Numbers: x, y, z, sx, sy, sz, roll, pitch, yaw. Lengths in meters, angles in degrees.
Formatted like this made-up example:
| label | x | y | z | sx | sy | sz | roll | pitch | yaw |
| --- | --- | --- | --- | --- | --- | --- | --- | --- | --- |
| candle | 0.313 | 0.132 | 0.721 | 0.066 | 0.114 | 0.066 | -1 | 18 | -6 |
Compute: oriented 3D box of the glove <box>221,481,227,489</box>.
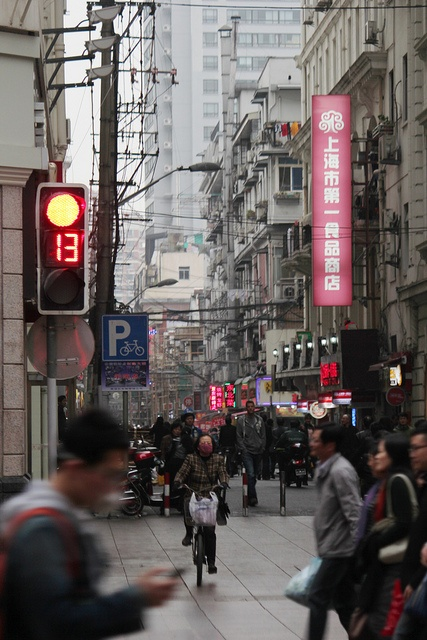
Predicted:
| label | x | y | z | sx | sy | sz | roll | pitch | yaw |
| --- | --- | --- | --- | --- | --- | --- | --- | --- | --- |
| glove | 0.108 | 1.636 | 11.378 | 0.038 | 0.063 | 0.054 | -2 | 38 | 3 |

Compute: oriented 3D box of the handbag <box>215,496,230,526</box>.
| label | x | y | z | sx | sy | sz | roll | pitch | yaw |
| --- | --- | --- | --- | --- | --- | --- | --- | --- | --- |
| handbag | 0.130 | 1.945 | 11.562 | 0.150 | 0.281 | 0.264 | 3 | -19 | -11 |

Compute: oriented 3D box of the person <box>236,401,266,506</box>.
| label | x | y | z | sx | sy | sz | roll | pitch | yaw |
| --- | --- | --- | --- | --- | --- | --- | --- | --- | --- |
| person | 0.607 | 2.283 | 19.739 | 0.422 | 1.809 | 0.957 | -1 | -4 | 15 |

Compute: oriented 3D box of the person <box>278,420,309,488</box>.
| label | x | y | z | sx | sy | sz | roll | pitch | yaw |
| --- | --- | --- | --- | --- | --- | --- | --- | --- | --- |
| person | 1.897 | 3.153 | 25.888 | 0.775 | 1.429 | 1.943 | -4 | -8 | 0 |

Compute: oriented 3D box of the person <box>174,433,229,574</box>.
| label | x | y | z | sx | sy | sz | roll | pitch | yaw |
| --- | --- | --- | --- | --- | --- | --- | --- | --- | --- |
| person | -0.149 | 1.806 | 11.663 | 0.446 | 1.397 | 1.245 | 1 | 9 | -4 |

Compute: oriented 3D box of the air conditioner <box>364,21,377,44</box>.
| label | x | y | z | sx | sy | sz | roll | pitch | yaw |
| --- | --- | --- | --- | --- | --- | --- | --- | --- | --- |
| air conditioner | 4.947 | -8.978 | 36.020 | 0.373 | 0.943 | 0.726 | -1 | -5 | 9 |

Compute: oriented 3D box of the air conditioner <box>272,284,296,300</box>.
| label | x | y | z | sx | sy | sz | roll | pitch | yaw |
| --- | --- | --- | --- | --- | --- | --- | --- | --- | --- |
| air conditioner | 4.025 | -1.698 | 66.219 | 1.245 | 1.045 | 1.058 | -1 | -5 | 8 |

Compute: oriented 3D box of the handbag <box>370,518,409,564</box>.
| label | x | y | z | sx | sy | sz | roll | pitch | yaw |
| --- | --- | --- | --- | --- | --- | --- | --- | --- | --- |
| handbag | 0.910 | 1.145 | 5.918 | 0.182 | 0.190 | 0.310 | -6 | 5 | 2 |

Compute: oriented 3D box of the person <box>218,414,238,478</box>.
| label | x | y | z | sx | sy | sz | roll | pitch | yaw |
| --- | --- | --- | --- | --- | --- | --- | --- | --- | --- |
| person | 0.360 | 2.976 | 27.865 | 0.482 | 0.835 | 1.282 | -1 | 17 | 2 |

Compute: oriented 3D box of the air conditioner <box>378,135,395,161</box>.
| label | x | y | z | sx | sy | sz | roll | pitch | yaw |
| --- | --- | --- | --- | --- | --- | --- | --- | --- | --- |
| air conditioner | 4.947 | -4.829 | 32.612 | 0.430 | 0.874 | 0.674 | -1 | -5 | 11 |

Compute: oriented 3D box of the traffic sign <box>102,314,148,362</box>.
| label | x | y | z | sx | sy | sz | roll | pitch | yaw |
| --- | --- | --- | --- | --- | --- | --- | --- | --- | --- |
| traffic sign | -1.405 | 0.296 | 18.101 | 0.583 | 0.739 | 0.068 | 0 | -5 | -7 |

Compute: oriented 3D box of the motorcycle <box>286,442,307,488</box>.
| label | x | y | z | sx | sy | sz | roll | pitch | yaw |
| --- | --- | --- | --- | --- | --- | --- | --- | --- | --- |
| motorcycle | 1.834 | 3.198 | 25.433 | 0.504 | 0.981 | 0.774 | -1 | -5 | 3 |

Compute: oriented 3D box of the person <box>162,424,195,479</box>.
| label | x | y | z | sx | sy | sz | roll | pitch | yaw |
| --- | --- | --- | --- | --- | --- | --- | --- | --- | --- |
| person | -0.614 | 2.361 | 19.471 | 0.519 | 1.617 | 0.408 | -3 | 36 | -8 |

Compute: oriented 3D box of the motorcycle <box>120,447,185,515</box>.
| label | x | y | z | sx | sy | sz | roll | pitch | yaw |
| --- | --- | --- | --- | --- | --- | --- | --- | --- | --- |
| motorcycle | -0.993 | 2.629 | 18.636 | 0.635 | 0.972 | 1.282 | -4 | -5 | 40 |

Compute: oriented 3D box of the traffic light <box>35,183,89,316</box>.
| label | x | y | z | sx | sy | sz | roll | pitch | yaw |
| --- | --- | --- | --- | --- | --- | --- | --- | --- | --- |
| traffic light | -1.037 | -0.499 | 7.893 | 0.339 | 0.922 | 0.313 | 0 | -4 | -10 |
